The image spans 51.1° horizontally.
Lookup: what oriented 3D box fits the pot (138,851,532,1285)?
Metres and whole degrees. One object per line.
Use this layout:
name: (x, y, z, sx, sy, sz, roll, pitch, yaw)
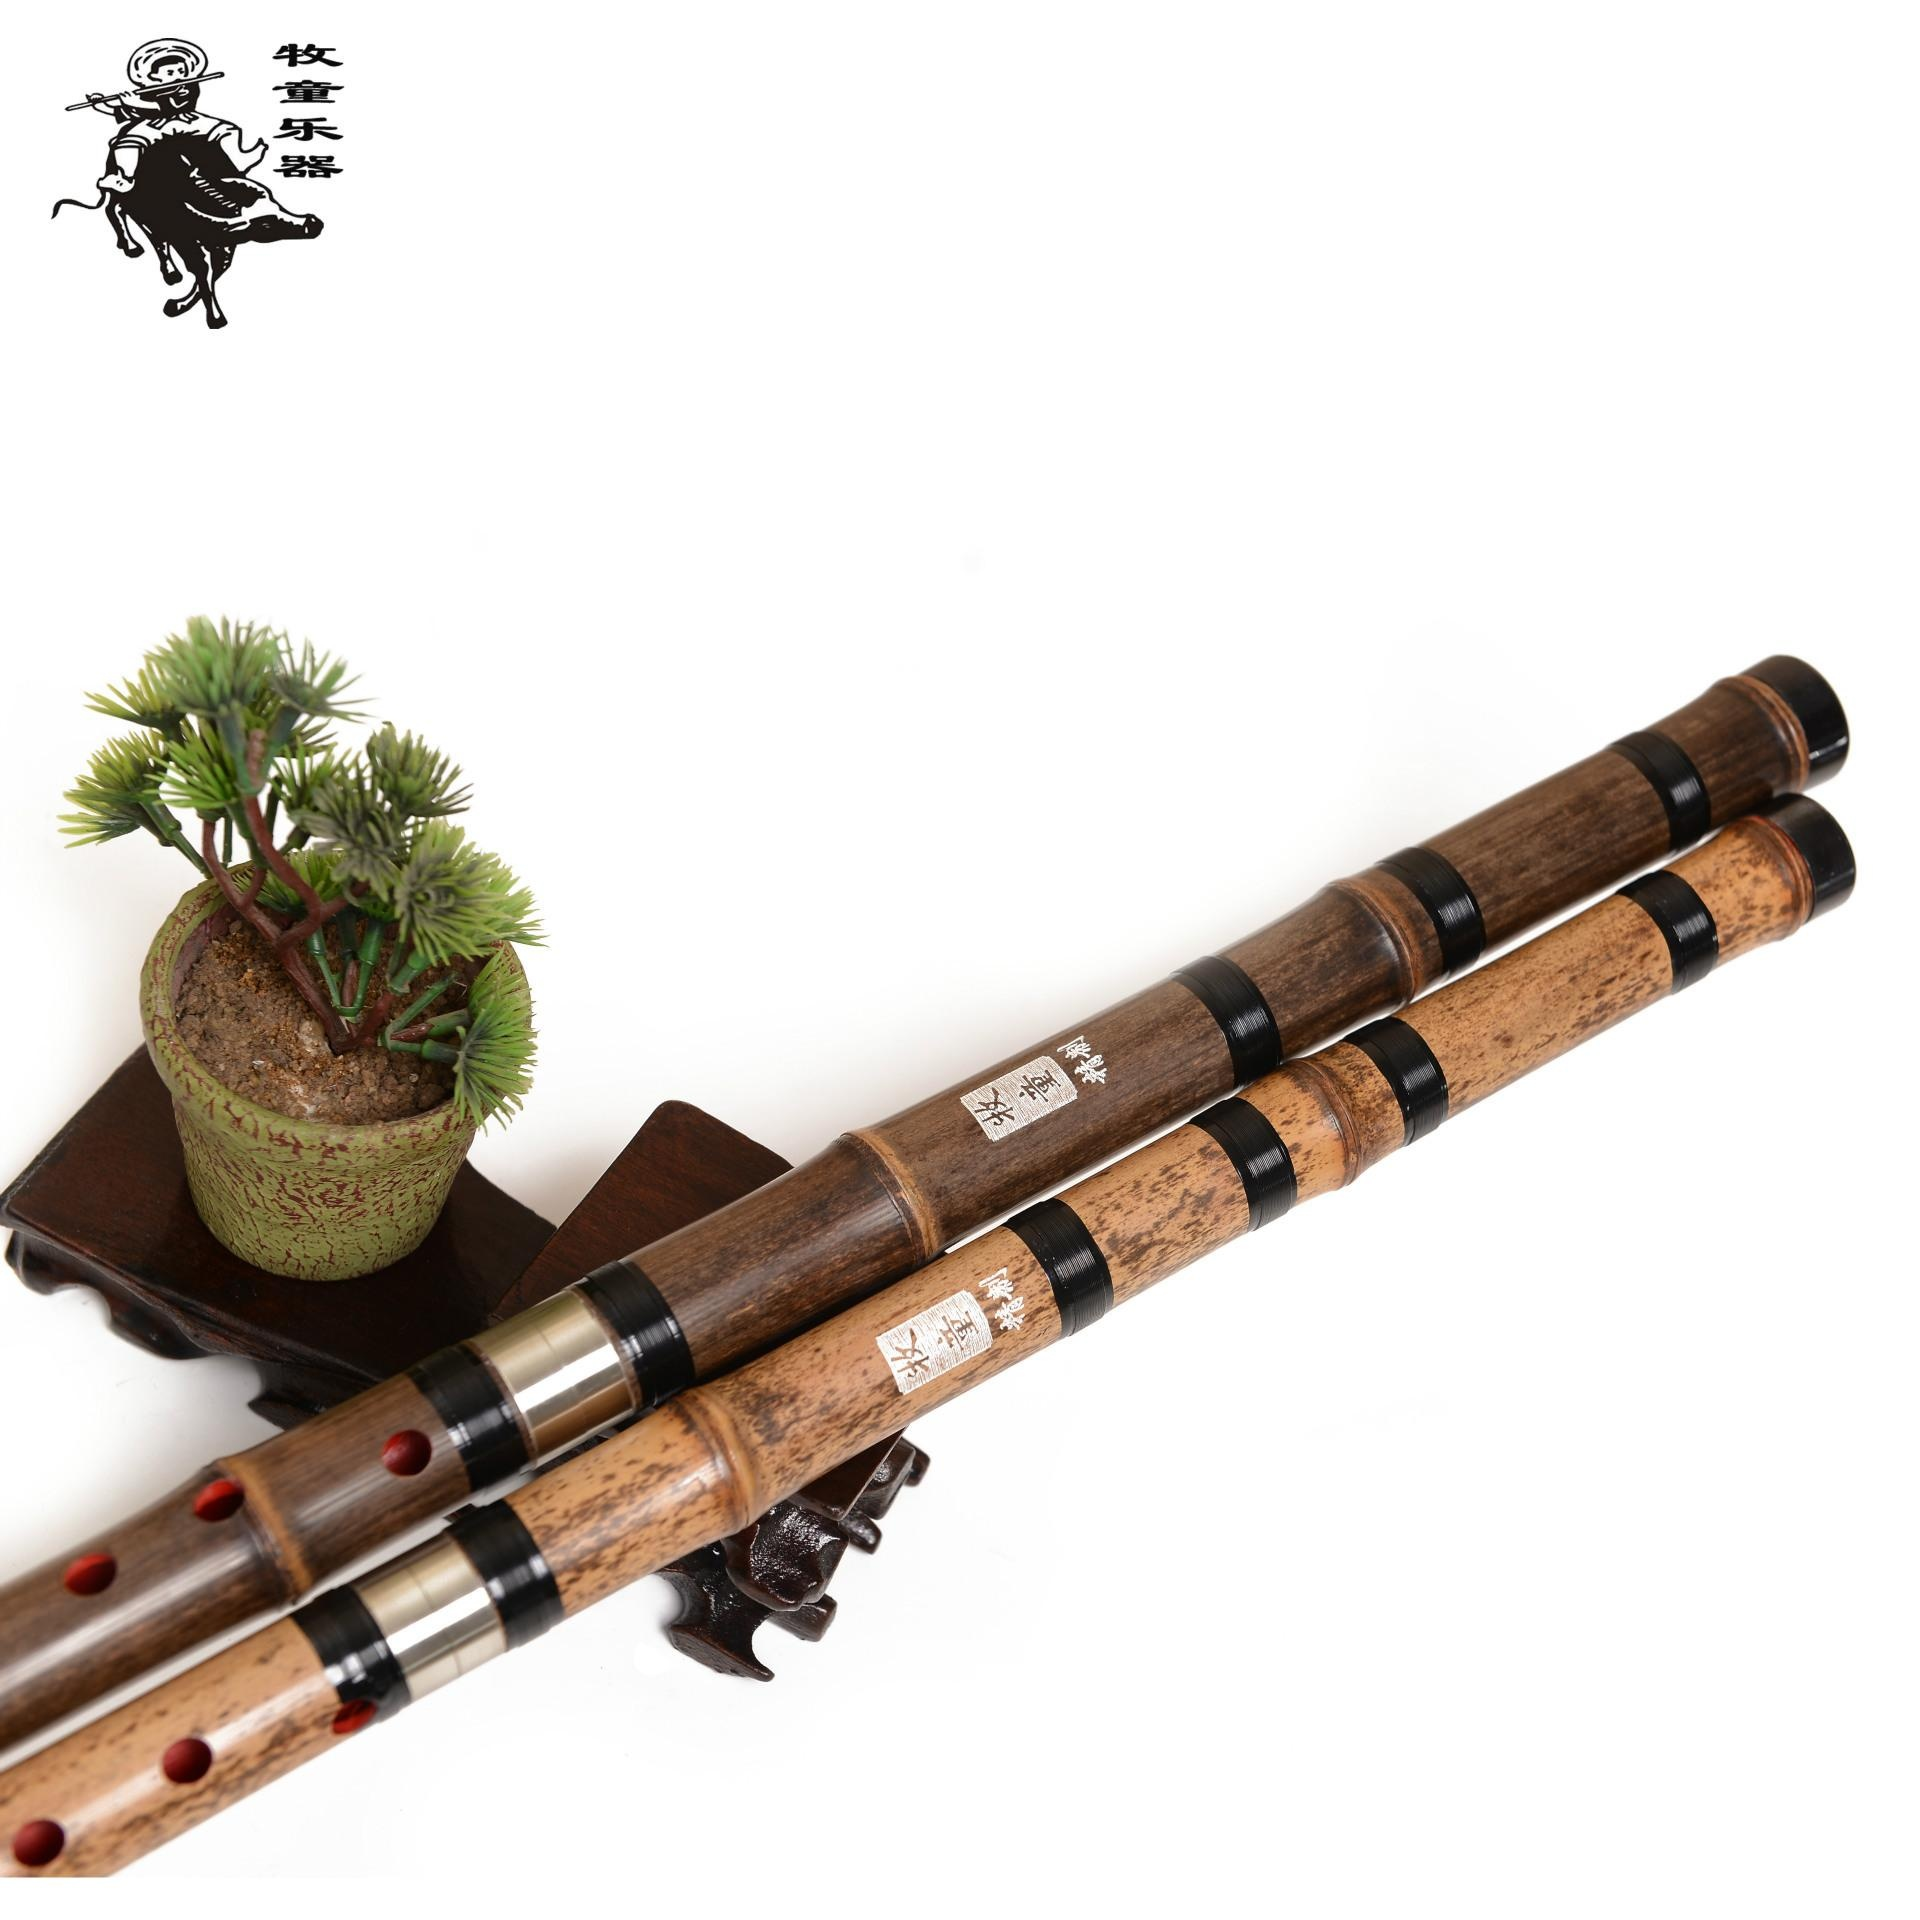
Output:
pot: (-0.550, 0.081, 1.767, 0.424, 0.329, 0.267, 10, -42, -17)
